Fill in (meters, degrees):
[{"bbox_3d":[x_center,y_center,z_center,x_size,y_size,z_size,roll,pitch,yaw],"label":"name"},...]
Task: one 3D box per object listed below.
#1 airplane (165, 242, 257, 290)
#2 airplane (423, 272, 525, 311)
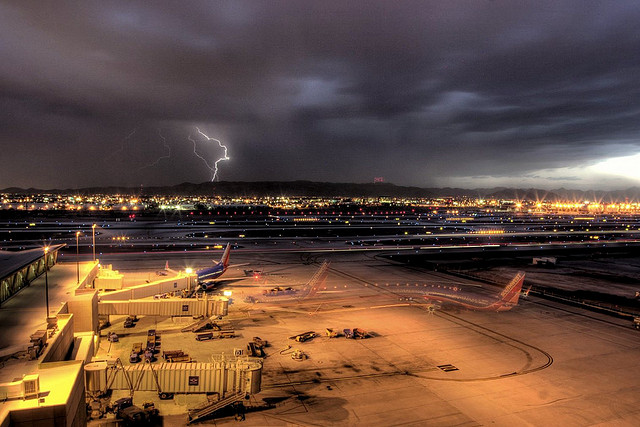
[{"bbox_3d":[-17.154,9.119,63.810,10.171,2.858,8.616,1,3,27],"label":"airplane"},{"bbox_3d":[21.102,11.798,56.805,16.863,4.929,9.268,1,9,0],"label":"airplane"}]
